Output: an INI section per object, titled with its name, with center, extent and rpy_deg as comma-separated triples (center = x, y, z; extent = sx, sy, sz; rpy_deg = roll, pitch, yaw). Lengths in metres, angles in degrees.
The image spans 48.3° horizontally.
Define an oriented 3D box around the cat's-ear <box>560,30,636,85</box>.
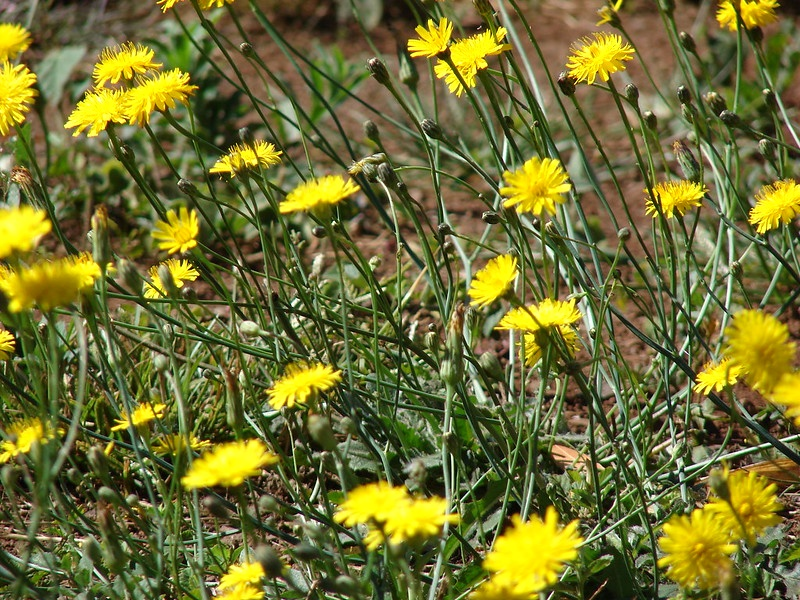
[cat's-ear]
center = 0.465, -0.556, 2.067
extent = 0.145, 0.068, 0.143
rpy_deg = -6, 46, 26
